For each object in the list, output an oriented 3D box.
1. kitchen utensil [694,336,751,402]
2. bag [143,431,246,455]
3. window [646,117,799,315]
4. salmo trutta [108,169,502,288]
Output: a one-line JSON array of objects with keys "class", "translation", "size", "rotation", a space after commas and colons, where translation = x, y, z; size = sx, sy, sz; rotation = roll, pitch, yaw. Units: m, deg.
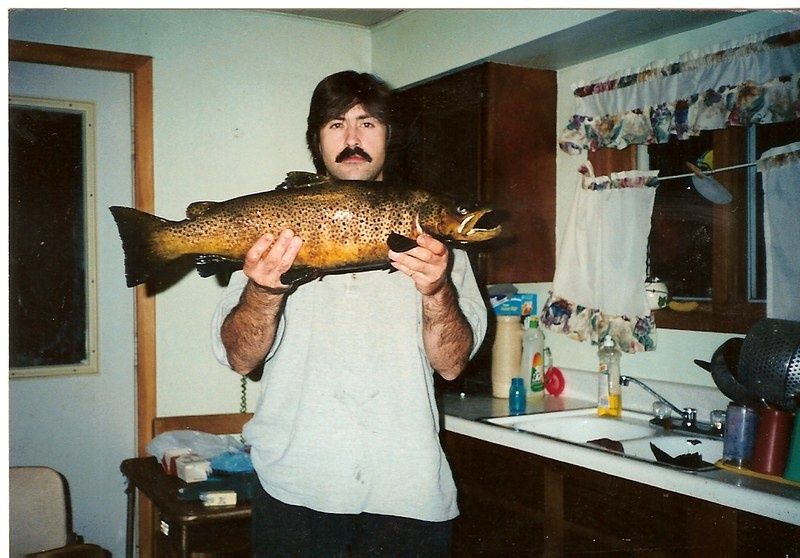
[{"class": "kitchen utensil", "translation": [0.996, 0.278, 2.080], "size": [0.092, 0.180, 0.134], "rotation": [-1, 4, 14]}, {"class": "bag", "translation": [-0.684, 0.563, 2.316], "size": [0.206, 0.051, 0.135], "rotation": [9, 6, -15]}, {"class": "window", "translation": [1.023, -0.201, 2.151], "size": [0.054, 0.638, 0.631], "rotation": [6, -8, -27]}, {"class": "salmo trutta", "translation": [-0.196, -0.101, 1.406], "size": [0.787, 0.225, 0.146], "rotation": [-1, 4, 10]}]
